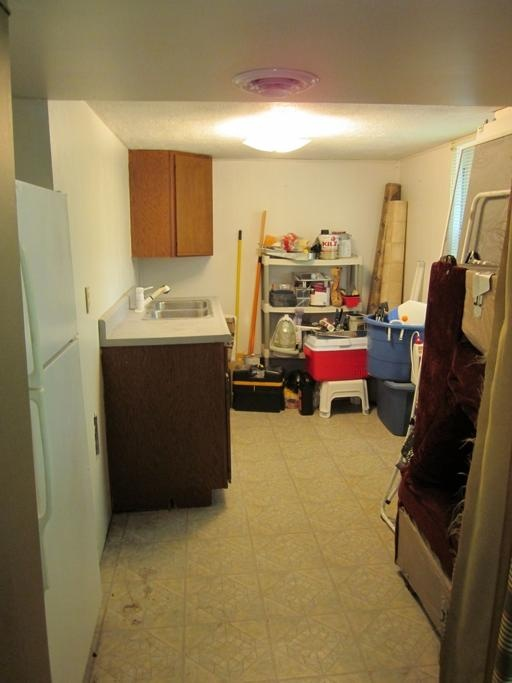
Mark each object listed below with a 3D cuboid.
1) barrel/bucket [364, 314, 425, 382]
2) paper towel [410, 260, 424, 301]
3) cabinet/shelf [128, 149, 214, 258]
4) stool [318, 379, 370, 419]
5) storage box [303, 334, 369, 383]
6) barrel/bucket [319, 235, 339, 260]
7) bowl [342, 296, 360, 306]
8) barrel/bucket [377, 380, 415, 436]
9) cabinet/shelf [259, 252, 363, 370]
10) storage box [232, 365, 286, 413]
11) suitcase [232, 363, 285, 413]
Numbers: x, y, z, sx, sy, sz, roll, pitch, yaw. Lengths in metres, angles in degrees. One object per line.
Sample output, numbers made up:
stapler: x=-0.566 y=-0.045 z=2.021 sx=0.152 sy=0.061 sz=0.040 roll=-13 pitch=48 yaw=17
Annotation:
barrel/bucket: x=1.001 y=0.038 z=3.700 sx=0.448 sy=0.392 sz=0.440 roll=0 pitch=7 yaw=0
paper towel: x=1.240 y=-0.447 z=3.910 sx=0.093 sy=0.337 sz=0.628 roll=2 pitch=11 yaw=17
cabinet/shelf: x=-0.686 y=-1.096 z=3.963 sx=0.748 sy=0.759 sz=0.264 roll=-9 pitch=19 yaw=-37
stool: x=0.692 y=0.418 z=4.069 sx=0.301 sy=0.237 sz=0.320 roll=1 pitch=7 yaw=11
storage box: x=0.643 y=0.126 z=4.156 sx=0.430 sy=0.304 sz=0.330 roll=-1 pitch=9 yaw=-9
barrel/bucket: x=0.630 y=-0.822 z=4.435 sx=0.151 sy=0.200 sz=0.098 roll=-2 pitch=10 yaw=-4
bowl: x=0.856 y=-0.359 z=4.592 sx=0.117 sy=0.092 sz=0.100 roll=0 pitch=4 yaw=-4
barrel/bucket: x=0.994 y=0.464 z=3.724 sx=0.284 sy=0.346 sz=0.435 roll=-1 pitch=11 yaw=-8
cabinet/shelf: x=0.476 y=-0.265 z=4.414 sx=0.891 sy=1.163 sz=0.398 roll=-1 pitch=20 yaw=-7
storage box: x=0.014 y=0.443 z=4.377 sx=0.498 sy=0.345 sz=0.518 roll=7 pitch=-14 yaw=-21
suitcase: x=0.022 y=0.404 z=4.177 sx=0.356 sy=0.344 sz=0.377 roll=2 pitch=11 yaw=5
